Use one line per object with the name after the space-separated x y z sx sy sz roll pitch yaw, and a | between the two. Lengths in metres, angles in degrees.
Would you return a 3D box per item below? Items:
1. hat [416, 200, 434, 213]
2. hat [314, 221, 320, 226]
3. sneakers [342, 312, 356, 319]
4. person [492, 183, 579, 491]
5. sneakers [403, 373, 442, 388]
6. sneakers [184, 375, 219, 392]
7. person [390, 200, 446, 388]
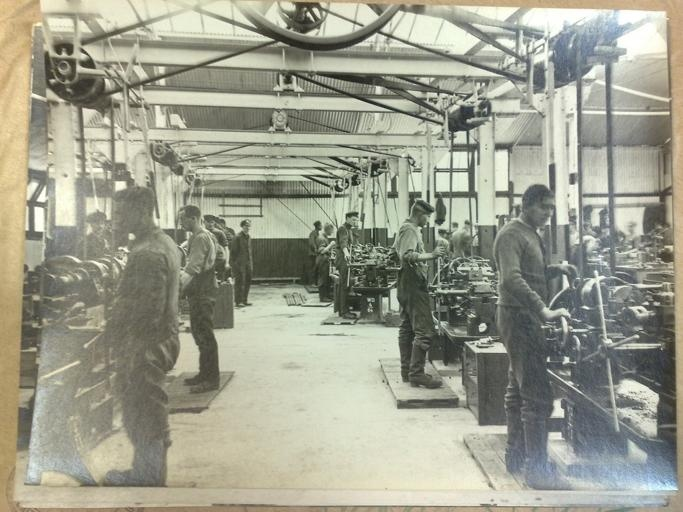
0.749 -0.440 6.916 0.136 0.052 0.098 36 13 1 | hat
-0.260 -0.328 7.875 0.064 0.050 0.126 1 3 -12 | hat
0.079 0.689 8.710 0.068 0.091 0.204 2 -10 -19 | sneakers
1.509 0.654 6.163 0.597 2.462 0.156 2 2 11 | person
0.700 1.081 6.688 0.339 0.166 0.133 -1 2 -10 | sneakers
-1.114 1.031 6.117 0.217 0.097 0.121 11 2 -21 | sneakers
0.688 0.327 6.759 0.418 1.640 0.542 2 2 3 | person
